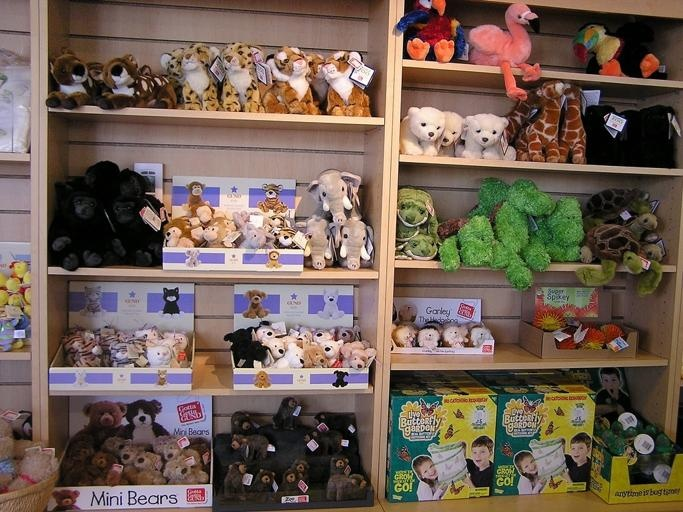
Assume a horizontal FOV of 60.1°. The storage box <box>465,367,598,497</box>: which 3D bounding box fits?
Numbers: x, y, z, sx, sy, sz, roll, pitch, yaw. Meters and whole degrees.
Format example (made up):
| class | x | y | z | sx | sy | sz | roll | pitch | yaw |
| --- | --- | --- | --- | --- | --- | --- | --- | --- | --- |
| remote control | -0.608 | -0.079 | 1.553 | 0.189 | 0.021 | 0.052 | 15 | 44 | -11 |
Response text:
| class | x | y | z | sx | sy | sz | roll | pitch | yaw |
| --- | --- | --- | --- | --- | --- | --- | --- | --- | --- |
| storage box | 0.870 | 0.797 | 2.821 | 0.496 | 0.479 | 0.427 | 1 | 3 | -12 |
